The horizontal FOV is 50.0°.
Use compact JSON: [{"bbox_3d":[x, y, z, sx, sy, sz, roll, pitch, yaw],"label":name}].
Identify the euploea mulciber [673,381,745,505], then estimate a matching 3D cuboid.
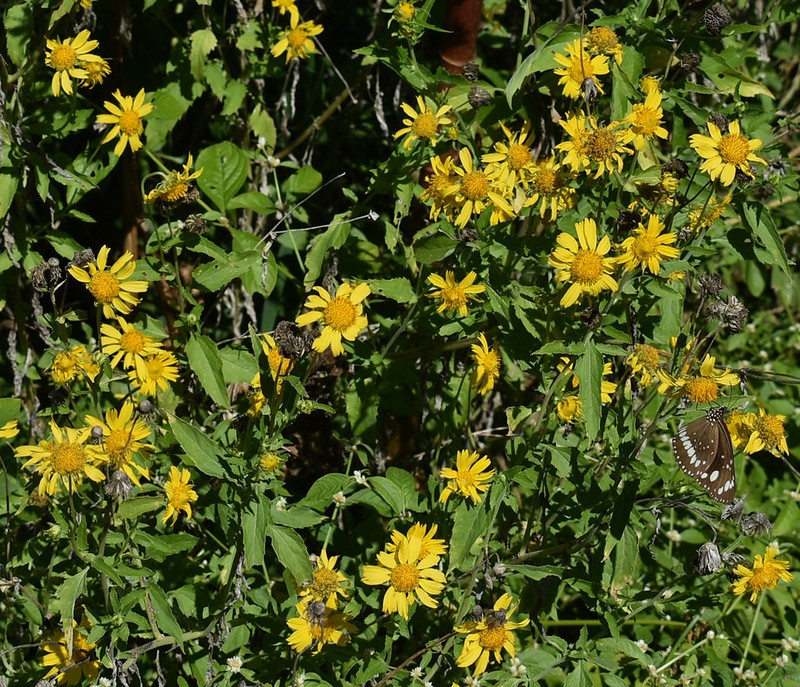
[{"bbox_3d":[0.841,0.294,2.328,0.201,0.241,0.060,22,-7,3],"label":"euploea mulciber"}]
